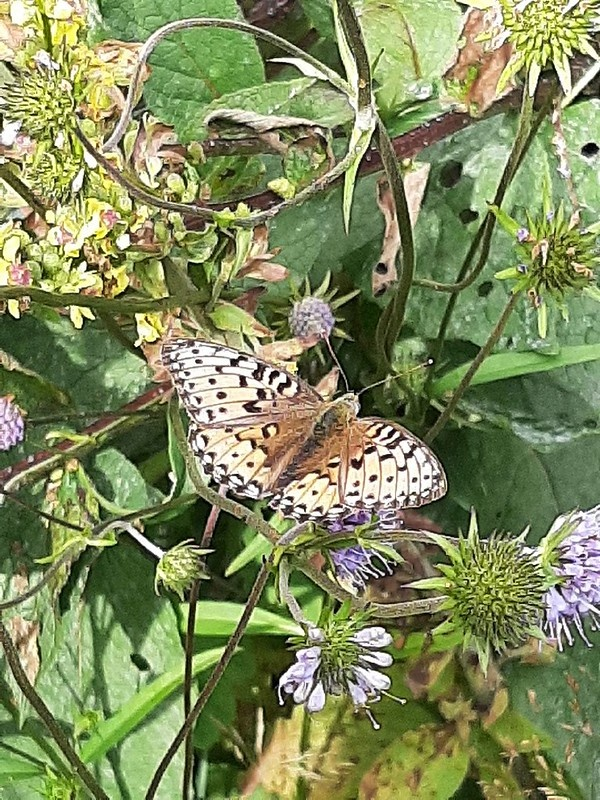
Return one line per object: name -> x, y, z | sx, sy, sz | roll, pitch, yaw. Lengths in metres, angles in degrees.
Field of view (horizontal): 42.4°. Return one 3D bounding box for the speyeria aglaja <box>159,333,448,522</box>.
speyeria aglaja -> 0.003, 0.030, 0.613 | 0.259, 0.062, 0.109 | 22, 74, 26
